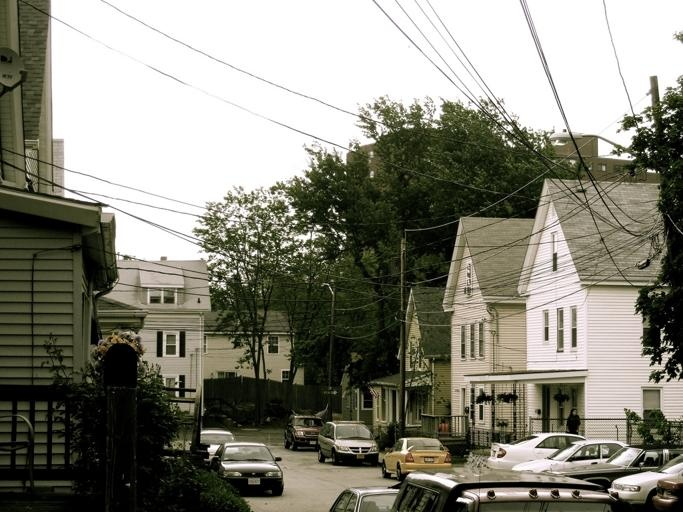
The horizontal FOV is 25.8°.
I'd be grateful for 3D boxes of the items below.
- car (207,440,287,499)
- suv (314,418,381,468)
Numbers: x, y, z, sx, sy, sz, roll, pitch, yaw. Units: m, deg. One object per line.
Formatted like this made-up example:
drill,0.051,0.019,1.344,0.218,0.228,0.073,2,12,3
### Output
car,-3.148,6.963,48.814,2.101,1.316,4.134,2,-7,-11
suv,0.324,7.552,59.951,1.782,1.966,2.841,3,-14,-16
